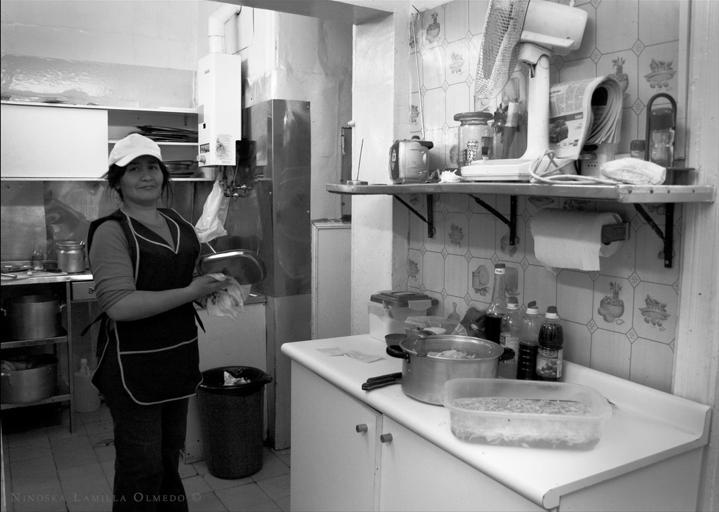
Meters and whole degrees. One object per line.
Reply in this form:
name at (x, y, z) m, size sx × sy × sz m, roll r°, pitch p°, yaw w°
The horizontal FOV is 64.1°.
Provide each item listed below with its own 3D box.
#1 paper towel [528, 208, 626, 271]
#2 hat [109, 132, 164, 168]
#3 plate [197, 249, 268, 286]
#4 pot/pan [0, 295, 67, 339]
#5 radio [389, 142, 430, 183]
paper towel at (0.695, -0.058, 1.953) m, size 0.194 × 0.191 × 0.376 m, roll -14°, pitch 8°, yaw -24°
hat at (-0.948, -0.440, 2.432) m, size 0.218 × 0.153 × 0.283 m, roll -13°, pitch 13°, yaw -35°
plate at (-0.546, 0.050, 2.440) m, size 0.233 × 0.143 × 0.056 m, roll -8°, pitch 45°, yaw -4°
pot/pan at (-2.044, 0.349, 3.639) m, size 0.266 × 0.224 × 0.311 m, roll 8°, pitch 7°, yaw 37°
radio at (0.209, -0.394, 2.404) m, size 0.192 × 0.190 × 0.132 m, roll 0°, pitch 4°, yaw -16°
